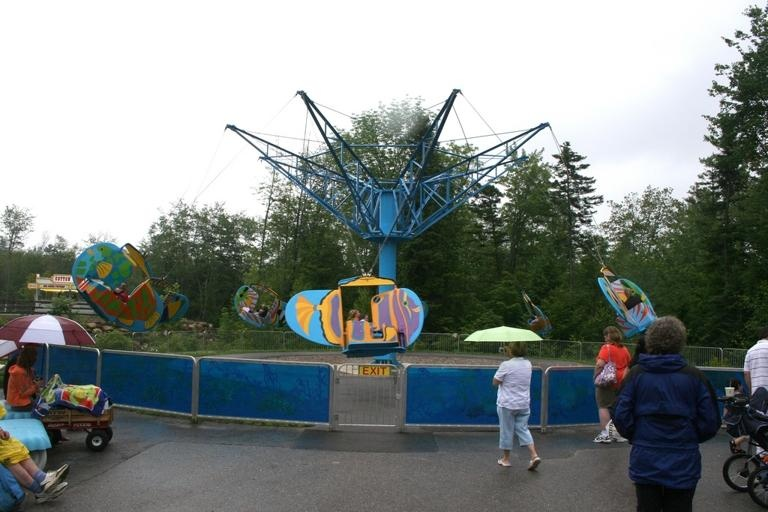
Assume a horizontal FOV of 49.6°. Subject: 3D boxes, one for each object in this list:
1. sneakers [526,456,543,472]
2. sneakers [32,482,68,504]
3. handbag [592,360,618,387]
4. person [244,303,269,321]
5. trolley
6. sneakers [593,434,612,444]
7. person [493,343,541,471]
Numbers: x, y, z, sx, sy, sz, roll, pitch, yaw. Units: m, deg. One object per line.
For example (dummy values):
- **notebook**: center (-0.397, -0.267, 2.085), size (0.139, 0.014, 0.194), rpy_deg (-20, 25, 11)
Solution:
- **sneakers**: center (3.432, 4.718, 18.814), size (0.185, 0.190, 0.440), rpy_deg (4, -43, -10)
- **sneakers**: center (-6.832, 4.880, 17.048), size (0.507, 0.173, 0.229), rpy_deg (-30, 35, -22)
- **handbag**: center (5.429, 2.877, 20.257), size (0.281, 0.620, 0.586), rpy_deg (32, -26, 1)
- **person**: center (-5.467, 2.494, 36.041), size (0.948, 0.426, 0.741), rpy_deg (6, 0, -36)
- **trolley**: center (-7.289, 3.785, 19.740), size (1.677, 1.439, 1.246), rpy_deg (2, 4, -6)
- **sneakers**: center (5.482, 4.602, 20.779), size (0.175, 0.201, 0.441), rpy_deg (3, -5, -15)
- **person**: center (3.057, 3.463, 19.160), size (1.071, 2.921, 1.351), rpy_deg (3, 15, 10)
